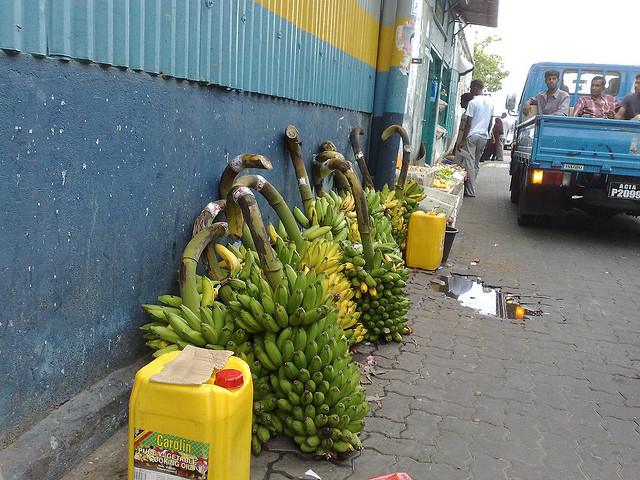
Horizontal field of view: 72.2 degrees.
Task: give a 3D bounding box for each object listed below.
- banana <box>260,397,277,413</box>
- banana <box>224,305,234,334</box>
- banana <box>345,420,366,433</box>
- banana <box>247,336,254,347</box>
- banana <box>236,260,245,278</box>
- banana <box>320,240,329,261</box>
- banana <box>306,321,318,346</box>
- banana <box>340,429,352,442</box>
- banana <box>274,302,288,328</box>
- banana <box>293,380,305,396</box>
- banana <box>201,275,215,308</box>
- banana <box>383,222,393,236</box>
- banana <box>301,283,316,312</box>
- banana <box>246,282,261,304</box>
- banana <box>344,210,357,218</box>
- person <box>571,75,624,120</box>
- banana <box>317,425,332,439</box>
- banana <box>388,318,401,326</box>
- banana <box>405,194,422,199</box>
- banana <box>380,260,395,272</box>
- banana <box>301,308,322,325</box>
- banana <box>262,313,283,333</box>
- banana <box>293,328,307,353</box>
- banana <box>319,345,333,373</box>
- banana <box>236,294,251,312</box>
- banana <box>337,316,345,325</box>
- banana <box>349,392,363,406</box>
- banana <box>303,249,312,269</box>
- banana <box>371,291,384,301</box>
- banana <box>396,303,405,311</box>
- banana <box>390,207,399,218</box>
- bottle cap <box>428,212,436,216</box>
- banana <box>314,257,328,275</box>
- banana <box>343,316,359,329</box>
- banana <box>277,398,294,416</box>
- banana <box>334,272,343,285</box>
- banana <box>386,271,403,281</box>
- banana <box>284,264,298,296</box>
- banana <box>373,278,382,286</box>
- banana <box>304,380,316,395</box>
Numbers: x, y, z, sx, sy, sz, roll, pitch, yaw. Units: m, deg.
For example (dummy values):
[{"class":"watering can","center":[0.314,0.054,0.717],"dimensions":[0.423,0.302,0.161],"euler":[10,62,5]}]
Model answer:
[{"class":"banana","center":[-0.329,1.062,2.831],"dimensions":[0.104,0.134,0.064],"euler":[2,16,-5]},{"class":"banana","center":[-0.607,0.524,2.956],"dimensions":[0.043,0.188,0.063],"euler":[-3,-24,-13]},{"class":"banana","center":[0.228,1.175,2.806],"dimensions":[0.077,0.055,0.224],"euler":[-17,-10,-13]},{"class":"banana","center":[-0.462,0.670,2.924],"dimensions":[0.031,0.073,0.124],"euler":[5,-11,-2]},{"class":"banana","center":[-0.637,0.226,3.525],"dimensions":[0.042,0.176,0.029],"euler":[-8,-34,43]},{"class":"banana","center":[0.038,0.081,3.758],"dimensions":[0.046,0.177,0.058],"euler":[7,6,-27]},{"class":"banana","center":[-0.052,0.609,2.926],"dimensions":[0.041,0.185,0.061],"euler":[11,-17,0]},{"class":"banana","center":[0.164,1.206,2.724],"dimensions":[0.064,0.057,0.037],"euler":[14,-25,39]},{"class":"banana","center":[-0.240,0.491,2.900],"dimensions":[0.052,0.185,0.066],"euler":[-31,32,-26]},{"class":"banana","center":[-0.126,0.918,2.784],"dimensions":[0.064,0.138,0.042],"euler":[0,25,8]},{"class":"banana","center":[-0.806,0.377,3.159],"dimensions":[0.093,0.137,0.306],"euler":[-1,18,-15]},{"class":"banana","center":[0.847,-0.135,5.372],"dimensions":[0.058,0.100,0.246],"euler":[-13,13,23]},{"class":"banana","center":[-0.074,0.380,2.914],"dimensions":[0.055,0.228,0.076],"euler":[0,21,-15]},{"class":"banana","center":[-0.466,0.350,3.073],"dimensions":[0.048,0.191,0.066],"euler":[-27,-24,7]},{"class":"banana","center":[0.353,-0.307,5.070],"dimensions":[0.199,0.062,0.073],"euler":[11,20,16]},{"class":"person","center":[6.191,-3.071,9.773],"dimensions":[1.094,1.125,0.556],"euler":[4,3,12]},{"class":"banana","center":[0.032,1.186,2.721],"dimensions":[0.078,0.088,0.082],"euler":[-3,-3,-22]},{"class":"banana","center":[0.734,0.784,4.251],"dimensions":[0.136,0.086,0.028],"euler":[-7,19,-31]},{"class":"banana","center":[1.442,-0.669,6.725],"dimensions":[0.155,0.042,0.060],"euler":[-7,-29,11]},{"class":"banana","center":[0.642,0.240,4.233],"dimensions":[0.125,0.112,0.088],"euler":[3,17,0]},{"class":"banana","center":[-0.052,0.499,2.899],"dimensions":[0.057,0.214,0.078],"euler":[35,43,-6]},{"class":"banana","center":[-0.317,0.539,2.846],"dimensions":[0.058,0.181,0.114],"euler":[-33,35,-10]},{"class":"banana","center":[-0.129,0.638,2.876],"dimensions":[0.089,0.149,0.104],"euler":[2,16,-3]},{"class":"banana","center":[0.041,0.750,2.828],"dimensions":[0.047,0.194,0.061],"euler":[-1,8,-34]},{"class":"banana","center":[-0.499,0.397,2.899],"dimensions":[0.044,0.159,0.055],"euler":[-36,0,-22]},{"class":"banana","center":[0.176,0.663,3.732],"dimensions":[0.031,0.074,0.172],"euler":[7,18,14]},{"class":"banana","center":[0.239,1.029,2.862],"dimensions":[0.052,0.073,0.102],"euler":[12,19,27]},{"class":"banana","center":[-0.099,0.152,3.711],"dimensions":[0.042,0.159,0.062],"euler":[-2,-6,7]},{"class":"banana","center":[0.556,0.534,4.202],"dimensions":[0.121,0.075,0.051],"euler":[0,17,-11]},{"class":"banana","center":[0.783,0.632,4.224],"dimensions":[0.024,0.084,0.098],"euler":[17,21,40]},{"class":"banana","center":[1.058,-0.388,6.209],"dimensions":[0.046,0.206,0.070],"euler":[29,-18,15]},{"class":"bottle cap","center":[1.596,-0.377,6.216],"dimensions":[0.086,0.033,0.084],"euler":[-7,10,-43]},{"class":"banana","center":[0.004,0.210,3.764],"dimensions":[0.056,0.182,0.067],"euler":[17,34,-19]},{"class":"banana","center":[0.285,0.716,3.931],"dimensions":[0.083,0.055,0.221],"euler":[-36,-14,28]},{"class":"banana","center":[-0.217,1.050,2.788],"dimensions":[0.046,0.155,0.056],"euler":[-7,46,36]},{"class":"banana","center":[0.170,0.339,4.009],"dimensions":[0.033,0.042,0.121],"euler":[26,57,3]},{"class":"banana","center":[0.720,0.346,4.222],"dimensions":[0.207,0.088,0.066],"euler":[-10,21,-37]},{"class":"banana","center":[-0.221,0.268,3.145],"dimensions":[0.056,0.243,0.080],"euler":[-12,-2,32]},{"class":"banana","center":[0.544,0.392,4.194],"dimensions":[0.046,0.072,0.025],"euler":[0,8,-5]},{"class":"banana","center":[-0.060,0.909,2.713],"dimensions":[0.060,0.082,0.043],"euler":[14,-23,-14]}]
